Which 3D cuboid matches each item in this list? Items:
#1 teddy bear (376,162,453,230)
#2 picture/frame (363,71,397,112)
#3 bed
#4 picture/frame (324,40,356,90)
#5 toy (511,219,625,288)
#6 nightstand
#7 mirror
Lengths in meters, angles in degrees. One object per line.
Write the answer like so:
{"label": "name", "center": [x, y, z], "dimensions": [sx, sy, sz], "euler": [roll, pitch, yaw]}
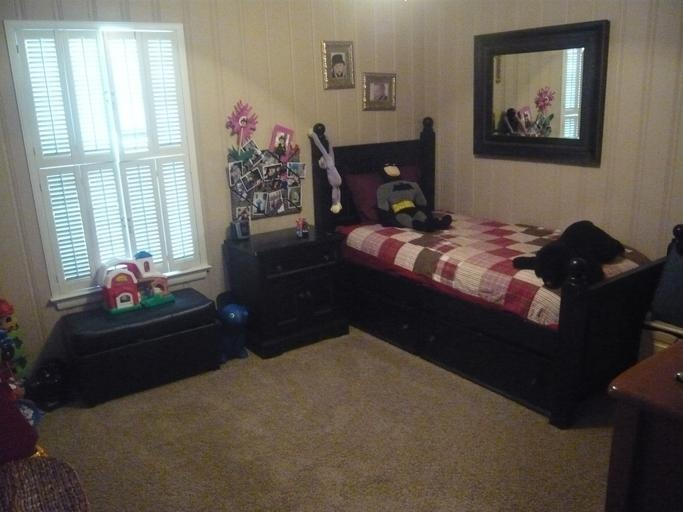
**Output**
{"label": "teddy bear", "center": [0.574, -0.495, 4.380], "dimensions": [0.461, 0.560, 0.765], "euler": [-9, 15, -33]}
{"label": "picture/frame", "center": [0.323, -1.472, 4.699], "dimensions": [0.333, 0.330, 0.025], "euler": [-10, 17, -30]}
{"label": "bed", "center": [1.039, -0.126, 4.032], "dimensions": [1.432, 1.526, 2.192], "euler": [-18, 24, -41]}
{"label": "picture/frame", "center": [-0.027, -1.626, 4.467], "dimensions": [0.361, 0.405, 0.055], "euler": [-11, 18, -32]}
{"label": "toy", "center": [1.424, -0.017, 3.290], "dimensions": [0.704, 0.231, 0.544], "euler": [-16, 24, -30]}
{"label": "nightstand", "center": [-0.433, 0.266, 4.297], "dimensions": [0.826, 0.803, 0.633], "euler": [-12, 13, -41]}
{"label": "mirror", "center": [1.541, -1.266, 4.035], "dimensions": [0.091, 1.091, 1.129], "euler": [-12, 17, -36]}
